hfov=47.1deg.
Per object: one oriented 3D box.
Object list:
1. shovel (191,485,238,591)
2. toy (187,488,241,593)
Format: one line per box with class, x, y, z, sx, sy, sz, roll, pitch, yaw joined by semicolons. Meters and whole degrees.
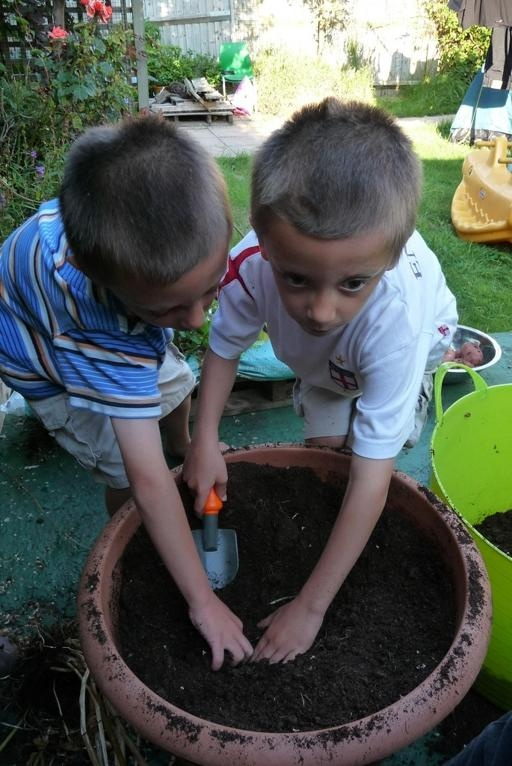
shovel;-0.087;0.312;1.204;0.094;0.200;0.052;-2;-12;-3
toy;-0.087;0.320;1.212;0.095;0.201;0.053;-1;-12;-3
